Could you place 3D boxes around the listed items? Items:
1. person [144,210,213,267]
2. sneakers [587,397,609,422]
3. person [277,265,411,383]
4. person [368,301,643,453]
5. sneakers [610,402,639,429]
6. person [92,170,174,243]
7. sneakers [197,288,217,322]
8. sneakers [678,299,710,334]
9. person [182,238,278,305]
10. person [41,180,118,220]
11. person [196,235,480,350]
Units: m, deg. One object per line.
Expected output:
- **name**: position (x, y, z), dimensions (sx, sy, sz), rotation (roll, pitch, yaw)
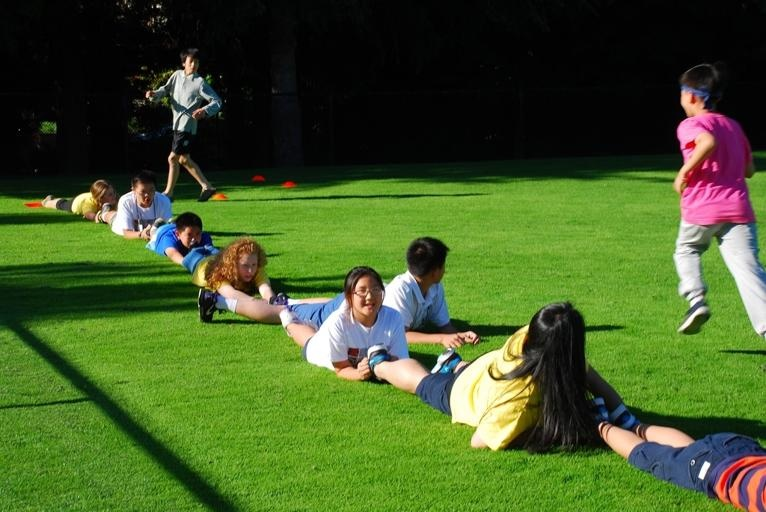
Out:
- **person**: position (-2.269, -0.232, 6.889), dimensions (1.020, 0.412, 0.363), rotation (23, 18, 35)
- **sneakers**: position (1.085, 0.771, 3.291), dimensions (0.076, 0.126, 0.036), rotation (-16, -5, -5)
- **person**: position (-0.271, 0.445, 4.433), dimensions (0.549, 0.717, 1.361), rotation (-5, 2, -27)
- **person**: position (0.590, 0.583, 3.356), dimensions (1.264, 0.603, 0.552), rotation (8, 31, 41)
- **sneakers**: position (1.216, 0.811, 3.299), dimensions (0.103, 0.051, 0.134), rotation (18, 0, -38)
- **person**: position (-3.127, -0.526, 8.496), dimensions (0.657, 0.891, 1.873), rotation (-4, -3, -27)
- **sneakers**: position (-1.324, 0.335, 4.902), dimensions (0.123, 0.292, 0.096), rotation (5, 11, 4)
- **sneakers**: position (1.985, 0.398, 4.198), dimensions (0.116, 0.132, 0.298), rotation (7, -27, -3)
- **person**: position (-1.381, 0.081, 5.788), dimensions (0.538, 0.624, 1.288), rotation (-4, 13, -34)
- **person**: position (-4.940, -0.902, 10.543), dimensions (1.749, 0.569, 0.770), rotation (11, 30, 41)
- **person**: position (-0.209, 0.313, 4.794), dimensions (1.937, 0.913, 0.692), rotation (0, -27, 4)
